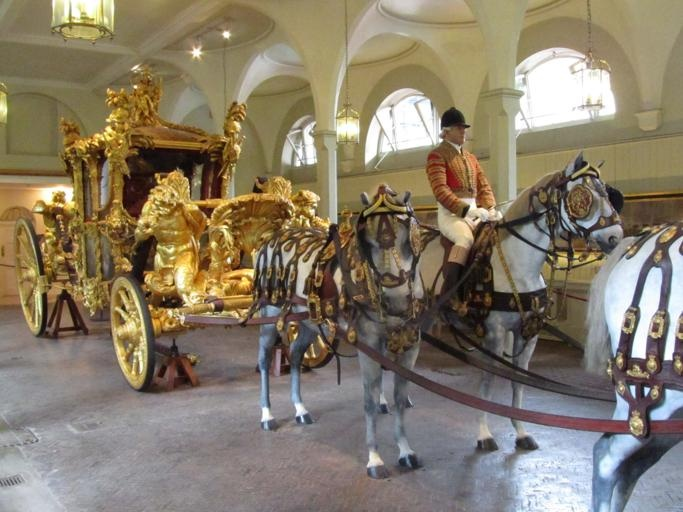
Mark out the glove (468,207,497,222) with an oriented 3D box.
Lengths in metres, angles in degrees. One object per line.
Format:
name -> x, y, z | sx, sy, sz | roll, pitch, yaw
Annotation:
glove -> 1.357, -0.406, 6.299 | 0.164, 0.084, 0.218 | 10, 0, -38

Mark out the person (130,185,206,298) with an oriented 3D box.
person -> -1.874, -0.146, 7.165 | 0.761, 1.270, 0.548 | -3, 8, -14

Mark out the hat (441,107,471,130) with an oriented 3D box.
hat -> 1.112, -1.369, 6.462 | 0.239, 0.211, 0.387 | 0, 8, 8
